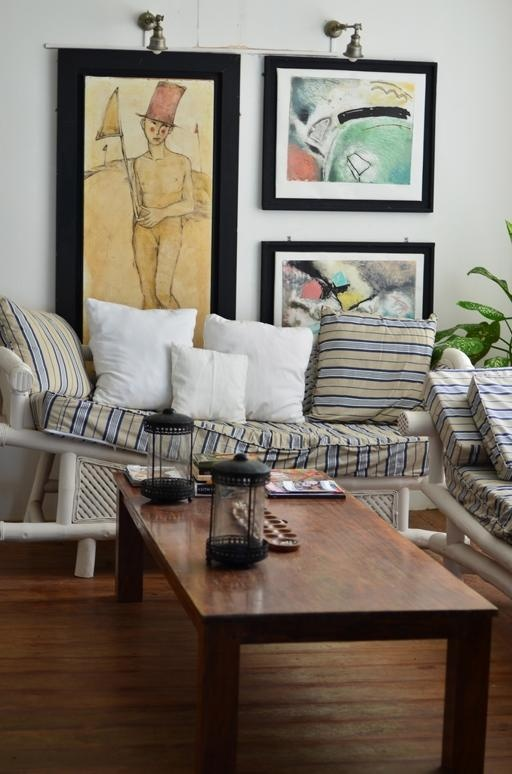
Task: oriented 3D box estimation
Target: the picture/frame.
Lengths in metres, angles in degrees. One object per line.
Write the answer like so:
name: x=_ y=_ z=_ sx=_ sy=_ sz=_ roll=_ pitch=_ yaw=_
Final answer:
picture/frame: x=-0.116 y=-0.819 z=3.190 sx=1.648 sy=1.158 sz=0.035 roll=0 pitch=5 yaw=-9
